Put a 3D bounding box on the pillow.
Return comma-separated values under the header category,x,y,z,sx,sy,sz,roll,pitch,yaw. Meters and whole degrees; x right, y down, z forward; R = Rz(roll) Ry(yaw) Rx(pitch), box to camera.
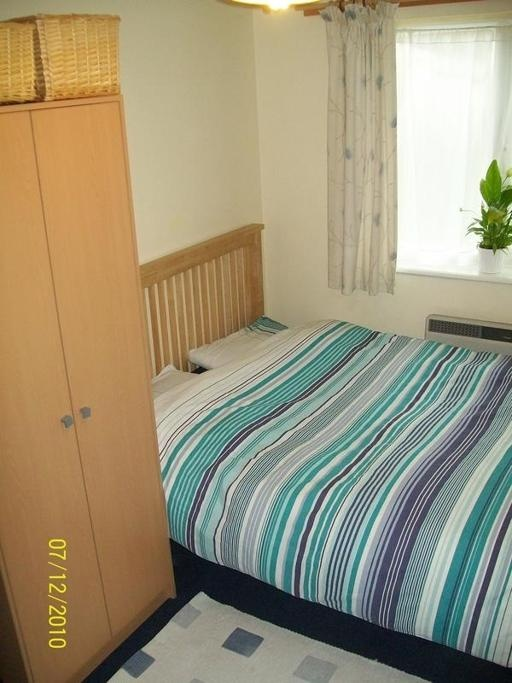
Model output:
category,x,y,z,sx,sy,sz,roll,pitch,yaw
pillow,-0.189,0.075,2.730,0.605,0.169,0.333,-37,51,-27
